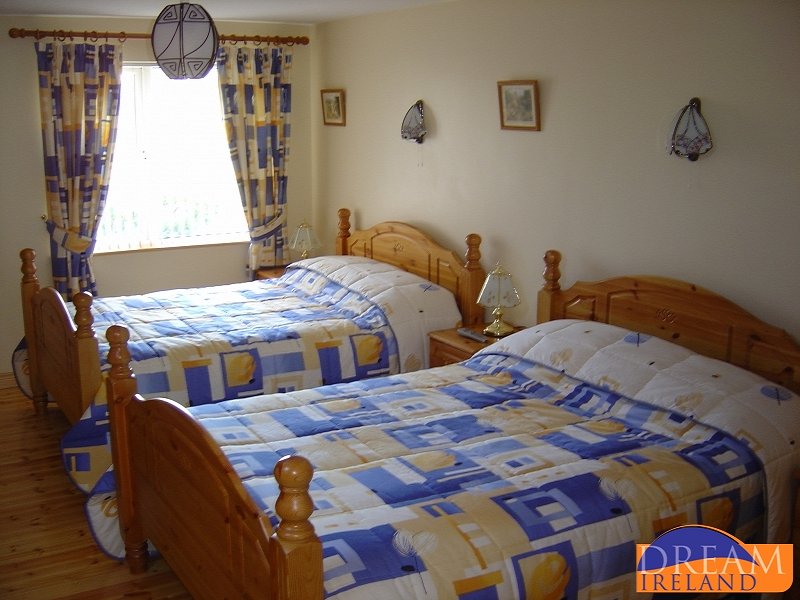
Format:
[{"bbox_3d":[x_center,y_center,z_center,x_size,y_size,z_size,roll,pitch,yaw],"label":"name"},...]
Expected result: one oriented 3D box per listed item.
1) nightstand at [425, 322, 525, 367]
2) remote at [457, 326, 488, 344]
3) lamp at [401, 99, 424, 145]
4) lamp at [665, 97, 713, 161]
[{"bbox_3d":[0.487,0.243,4.357,0.397,0.379,0.388,-11,16,-39],"label":"nightstand"},{"bbox_3d":[0.515,0.236,4.320,0.066,0.046,0.328,44,-17,-25],"label":"remote"},{"bbox_3d":[0.108,-1.448,5.159,0.086,0.344,0.272,-7,16,-33],"label":"lamp"},{"bbox_3d":[1.547,-0.897,3.335,0.060,0.324,0.216,-9,17,-37],"label":"lamp"}]
